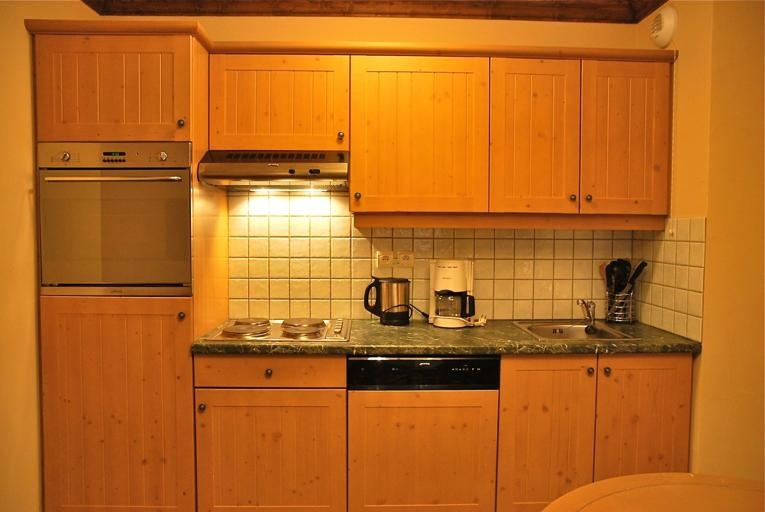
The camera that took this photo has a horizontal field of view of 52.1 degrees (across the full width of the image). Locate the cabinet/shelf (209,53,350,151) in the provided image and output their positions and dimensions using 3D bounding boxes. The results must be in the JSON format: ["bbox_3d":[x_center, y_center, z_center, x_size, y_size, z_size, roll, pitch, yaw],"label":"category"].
[{"bbox_3d":[-0.600,-0.910,4.684,0.824,0.366,0.567,3,-83,-4],"label":"cabinet/shelf"}]

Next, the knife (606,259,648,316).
[{"bbox_3d":[1.526,0.205,4.941,0.213,0.175,0.342,0,-83,14],"label":"knife"}]

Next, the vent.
[{"bbox_3d":[-0.660,-0.541,4.840,0.895,0.647,0.170,-1,-89,-8],"label":"vent"}]

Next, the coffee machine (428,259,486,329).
[{"bbox_3d":[0.428,0.233,4.971,0.457,0.394,0.541,-1,-93,1],"label":"coffee machine"}]

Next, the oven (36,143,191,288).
[{"bbox_3d":[-1.523,-0.229,4.513,0.867,0.464,0.839,2,-83,-5],"label":"oven"}]

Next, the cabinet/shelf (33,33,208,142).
[{"bbox_3d":[-1.562,-0.947,4.833,0.809,0.800,0.630,1,-89,0],"label":"cabinet/shelf"}]
